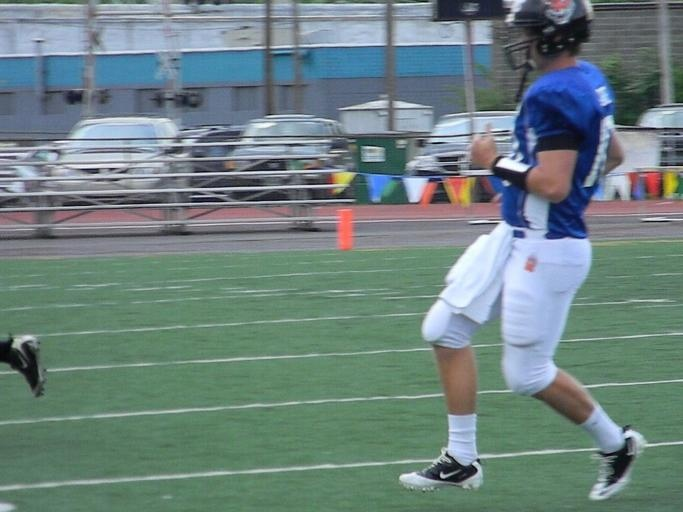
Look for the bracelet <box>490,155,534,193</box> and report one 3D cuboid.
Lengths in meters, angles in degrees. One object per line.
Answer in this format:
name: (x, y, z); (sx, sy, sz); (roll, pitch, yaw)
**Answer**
bracelet: (1.521, -0.758, 14.113); (0.425, 0.212, 0.176); (30, 10, 28)
